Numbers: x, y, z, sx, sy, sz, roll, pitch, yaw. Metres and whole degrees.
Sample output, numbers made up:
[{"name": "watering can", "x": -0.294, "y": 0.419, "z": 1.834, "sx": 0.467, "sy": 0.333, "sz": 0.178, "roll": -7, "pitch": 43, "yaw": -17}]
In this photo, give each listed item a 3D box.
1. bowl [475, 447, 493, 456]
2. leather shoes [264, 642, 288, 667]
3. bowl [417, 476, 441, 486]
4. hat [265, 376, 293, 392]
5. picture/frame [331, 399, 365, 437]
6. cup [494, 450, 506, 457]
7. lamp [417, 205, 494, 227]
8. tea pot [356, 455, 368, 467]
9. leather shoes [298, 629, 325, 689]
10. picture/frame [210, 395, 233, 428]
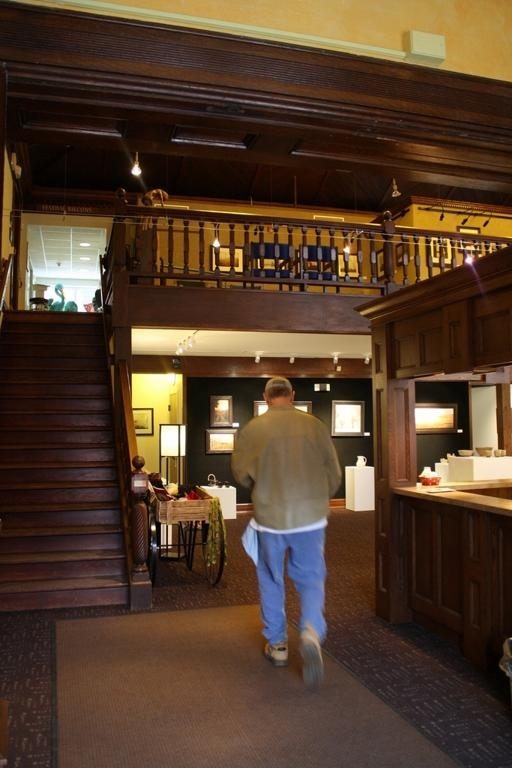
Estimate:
[{"name": "bowl", "x": 2.599, "y": 0.759, "z": 6.370, "sx": 0.174, "sy": 0.096, "sz": 0.499, "roll": -4, "pitch": -8, "yaw": 23}, {"name": "leather shoes", "x": 0.115, "y": 1.539, "z": 3.255, "sx": 0.070, "sy": 0.123, "sz": 0.177, "roll": 1, "pitch": 2, "yaw": -10}, {"name": "bowl", "x": 1.370, "y": 0.753, "z": 4.433, "sx": 0.140, "sy": 0.065, "sz": 0.118, "roll": -3, "pitch": -8, "yaw": 16}, {"name": "hat", "x": 0.171, "y": -0.011, "z": 4.434, "sx": 0.167, "sy": 0.133, "sz": 0.238, "roll": 2, "pitch": -12, "yaw": -2}, {"name": "picture/frame", "x": 1.840, "y": 0.663, "z": 11.447, "sx": 0.681, "sy": 0.804, "sz": 0.055, "roll": 0, "pitch": 0, "yaw": -23}, {"name": "cup", "x": 2.711, "y": 0.765, "z": 6.252, "sx": 0.057, "sy": 0.084, "sz": 0.152, "roll": 0, "pitch": -5, "yaw": -3}, {"name": "lamp", "x": 4.080, "y": -3.384, "z": 11.481, "sx": 1.859, "sy": 0.527, "sz": 0.194, "roll": 2, "pitch": -8, "yaw": -20}, {"name": "tea pot", "x": 1.984, "y": 1.459, "z": 10.668, "sx": 0.143, "sy": 0.183, "sz": 0.437, "roll": -3, "pitch": -8, "yaw": 18}, {"name": "leather shoes", "x": 0.251, "y": 1.221, "z": 2.539, "sx": 0.083, "sy": 0.281, "sz": 0.110, "roll": -2, "pitch": -4, "yaw": 2}, {"name": "picture/frame", "x": -0.676, "y": 0.523, "z": 10.634, "sx": 0.539, "sy": 0.811, "sz": 0.057, "roll": 0, "pitch": -1, "yaw": -21}]
